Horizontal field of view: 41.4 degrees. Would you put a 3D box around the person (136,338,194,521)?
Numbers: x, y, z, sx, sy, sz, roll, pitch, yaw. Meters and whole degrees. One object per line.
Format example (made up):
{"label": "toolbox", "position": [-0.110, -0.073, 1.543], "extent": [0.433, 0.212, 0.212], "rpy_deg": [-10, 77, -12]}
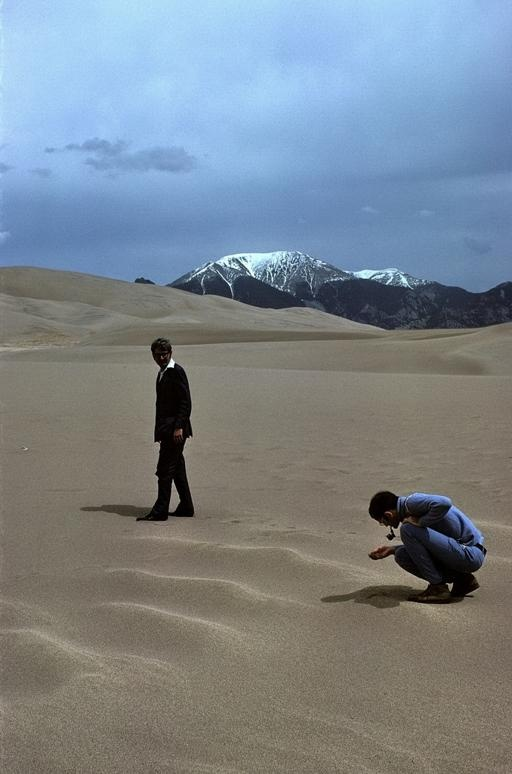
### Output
{"label": "person", "position": [-0.810, 0.395, 6.100], "extent": [0.475, 1.657, 0.709], "rpy_deg": [-1, 6, -5]}

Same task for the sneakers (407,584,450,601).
{"label": "sneakers", "position": [0.965, 1.138, 3.731], "extent": [0.242, 0.103, 0.089], "rpy_deg": [1, -20, 0]}
